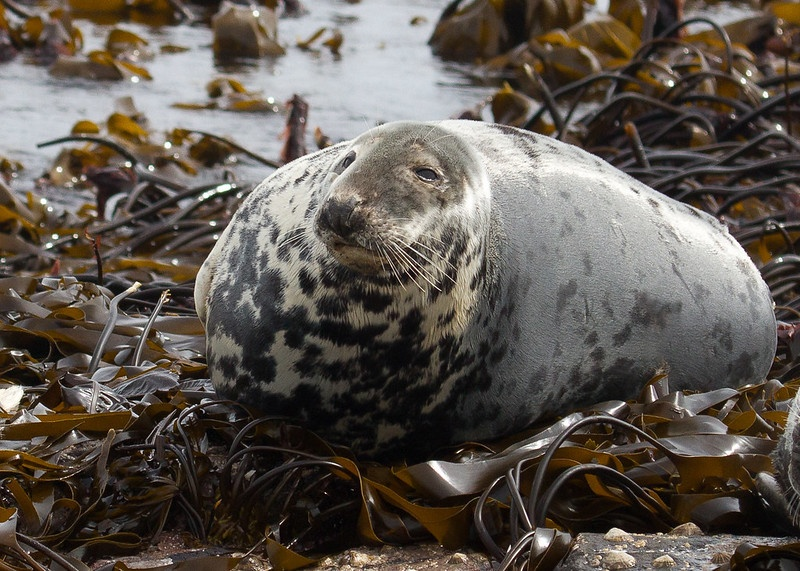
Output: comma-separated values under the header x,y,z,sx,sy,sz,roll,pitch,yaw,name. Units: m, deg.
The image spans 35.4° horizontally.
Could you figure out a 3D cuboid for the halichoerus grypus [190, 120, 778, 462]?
x,y,z,sx,sy,sz,roll,pitch,yaw,name
0.478,0.006,5.606,1.584,0.795,2.303,22,19,39,halichoerus grypus
